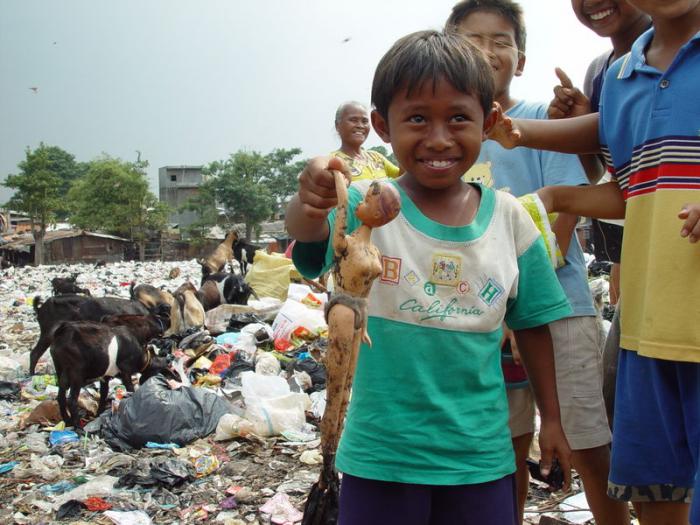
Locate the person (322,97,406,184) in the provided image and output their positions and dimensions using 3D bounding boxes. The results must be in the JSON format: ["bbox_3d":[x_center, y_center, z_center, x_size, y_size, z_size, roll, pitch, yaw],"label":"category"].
[{"bbox_3d":[0.050,-1.354,7.474,1.201,0.894,0.564,-11,6,-35],"label":"person"}]
